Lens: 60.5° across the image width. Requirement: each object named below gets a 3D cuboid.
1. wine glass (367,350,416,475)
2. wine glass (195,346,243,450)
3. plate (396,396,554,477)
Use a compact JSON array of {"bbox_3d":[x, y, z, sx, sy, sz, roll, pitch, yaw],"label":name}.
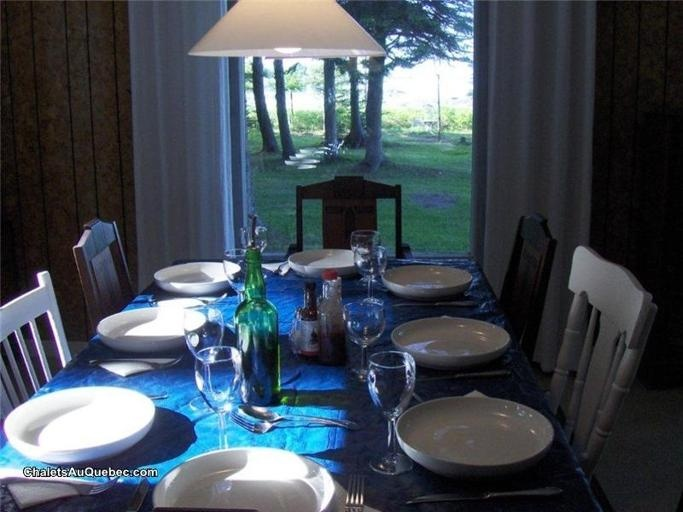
[{"bbox_3d":[0.113,0.334,1.330,0.102,0.228,0.209,-1,20,3],"label":"wine glass"},{"bbox_3d":[-0.279,0.315,1.368,0.097,0.226,0.172,-6,20,-11],"label":"wine glass"},{"bbox_3d":[0.312,0.412,1.335,0.373,0.075,0.269,-1,20,4],"label":"plate"}]
